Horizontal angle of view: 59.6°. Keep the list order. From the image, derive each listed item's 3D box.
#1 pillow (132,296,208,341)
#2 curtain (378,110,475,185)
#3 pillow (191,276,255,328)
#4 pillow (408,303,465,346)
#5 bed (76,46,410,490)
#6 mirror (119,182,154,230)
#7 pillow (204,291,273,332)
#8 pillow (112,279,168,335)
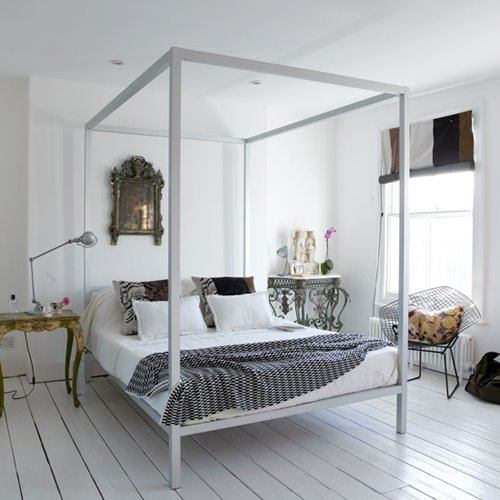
[{"bbox_3d":[-0.637,0.533,3.333,0.453,0.297,0.135,-2,-35,-32],"label":"pillow"},{"bbox_3d":[1.813,-1.058,4.504,0.940,0.596,0.096,-2,-8,38],"label":"curtain"},{"bbox_3d":[-0.226,0.506,4.270,0.631,0.499,0.240,4,-19,-28],"label":"pillow"},{"bbox_3d":[1.661,0.671,3.881,0.436,0.426,0.182,3,-7,27],"label":"pillow"},{"bbox_3d":[-0.233,0.169,3.597,2.473,2.480,2.469,-1,1,-44],"label":"bed"},{"bbox_3d":[-1.169,-0.450,4.398,0.436,0.646,0.027,3,-4,-44],"label":"mirror"},{"bbox_3d":[-0.087,0.548,3.916,0.455,0.346,0.138,1,-25,-30],"label":"pillow"},{"bbox_3d":[-0.925,0.476,3.895,0.549,0.194,0.599,-13,22,9],"label":"pillow"}]
